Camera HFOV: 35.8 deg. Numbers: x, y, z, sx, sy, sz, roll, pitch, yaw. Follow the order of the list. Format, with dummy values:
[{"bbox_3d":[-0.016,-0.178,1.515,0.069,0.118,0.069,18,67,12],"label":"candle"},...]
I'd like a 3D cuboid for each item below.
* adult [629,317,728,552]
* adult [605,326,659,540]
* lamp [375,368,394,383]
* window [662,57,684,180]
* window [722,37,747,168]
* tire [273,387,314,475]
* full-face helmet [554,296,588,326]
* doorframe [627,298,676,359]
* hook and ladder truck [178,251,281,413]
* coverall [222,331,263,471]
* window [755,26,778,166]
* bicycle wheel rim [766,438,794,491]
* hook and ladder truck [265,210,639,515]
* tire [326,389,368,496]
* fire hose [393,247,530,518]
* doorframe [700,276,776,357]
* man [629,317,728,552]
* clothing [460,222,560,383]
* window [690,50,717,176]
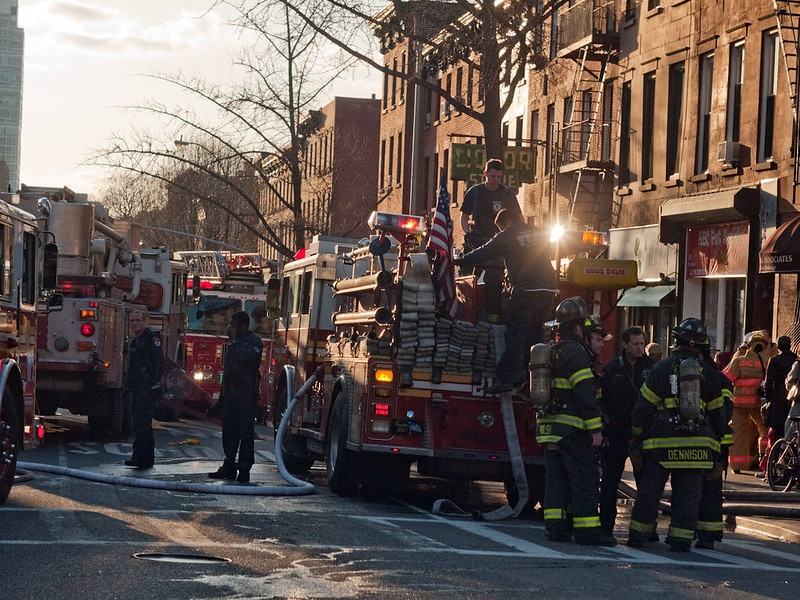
[{"bbox_3d":[2.905,1.389,12.947,0.979,2.422,0.577,2,-3,11],"label":"adult"},{"bbox_3d":[2.531,1.507,13.667,0.797,2.695,0.829,4,-22,7],"label":"adult"},{"bbox_3d":[-0.201,0.904,14.898,0.174,0.166,0.126,2,-1,4],"label":"lamp"},{"bbox_3d":[6.399,-4.223,29.057,0.306,2.659,0.595,2,-3,3],"label":"window"},{"bbox_3d":[7.127,-4.256,26.569,0.296,2.666,0.658,6,12,14],"label":"window"},{"bbox_3d":[-1.567,1.742,18.880,0.480,1.435,1.403,4,-30,-9],"label":"tire"},{"bbox_3d":[1.844,0.109,13.399,0.321,0.217,0.248,-4,-1,-25],"label":"full-face helmet"},{"bbox_3d":[6.002,0.450,30.599,1.188,1.560,0.856,3,7,35],"label":"doorframe"},{"bbox_3d":[-4.445,0.400,32.609,2.411,3.630,6.566,1,-2,-10],"label":"hook and ladder truck"},{"bbox_3d":[-2.253,1.402,17.169,0.596,2.067,0.863,8,-13,-35],"label":"coverall"},{"bbox_3d":[7.410,-4.170,25.018,0.203,2.662,0.599,3,-3,-14],"label":"window"},{"bbox_3d":[5.366,2.320,17.474,0.355,0.970,0.221,-2,1,31],"label":"bicycle wheel rim"},{"bbox_3d":[-0.002,0.857,16.994,2.657,2.609,4.736,2,1,-15],"label":"hook and ladder truck"},{"bbox_3d":[-0.666,1.810,15.539,0.407,1.405,1.164,2,-10,-8],"label":"tire"},{"bbox_3d":[0.862,1.419,15.861,1.678,1.838,2.865,1,-1,-5],"label":"fire hose"},{"bbox_3d":[7.562,0.198,27.299,0.578,1.639,1.699,-2,0,31],"label":"doorframe"},{"bbox_3d":[2.905,1.389,12.948,0.978,2.422,0.579,2,-3,11],"label":"man"},{"bbox_3d":[1.347,0.066,14.770,0.998,2.012,0.476,3,-3,-2],"label":"clothing"},{"bbox_3d":[6.865,-4.220,27.908,0.189,2.763,0.975,6,10,42],"label":"window"}]
